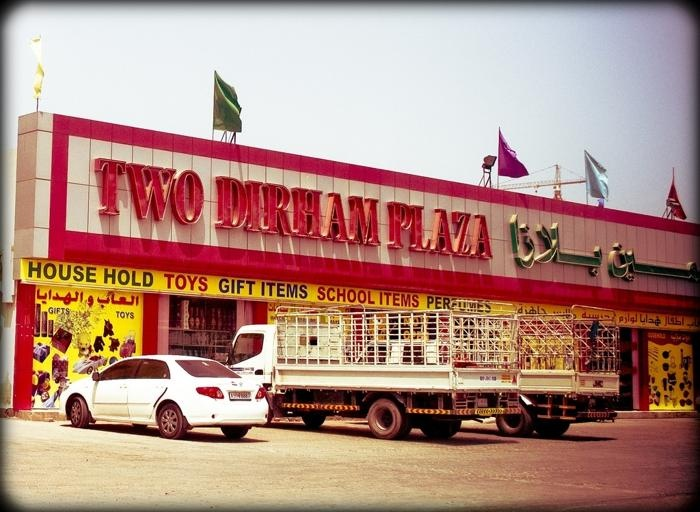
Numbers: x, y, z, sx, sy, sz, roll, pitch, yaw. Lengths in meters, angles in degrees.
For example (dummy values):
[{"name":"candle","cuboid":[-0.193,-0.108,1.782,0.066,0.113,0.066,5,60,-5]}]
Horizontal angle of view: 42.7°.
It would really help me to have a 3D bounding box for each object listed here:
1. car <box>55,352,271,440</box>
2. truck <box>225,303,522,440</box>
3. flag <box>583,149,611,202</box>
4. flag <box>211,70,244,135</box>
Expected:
[{"name":"car","cuboid":[-4.674,3.569,22.677,4.239,1.634,2.242,1,-6,38]},{"name":"truck","cuboid":[0.561,3.039,25.882,7.818,3.451,3.538,-2,-8,41]},{"name":"flag","cuboid":[12.312,-3.930,45.050,1.602,2.280,0.865,2,-9,-19]},{"name":"flag","cuboid":[-4.516,-5.556,32.671,0.944,2.482,1.481,0,-9,-7]}]
